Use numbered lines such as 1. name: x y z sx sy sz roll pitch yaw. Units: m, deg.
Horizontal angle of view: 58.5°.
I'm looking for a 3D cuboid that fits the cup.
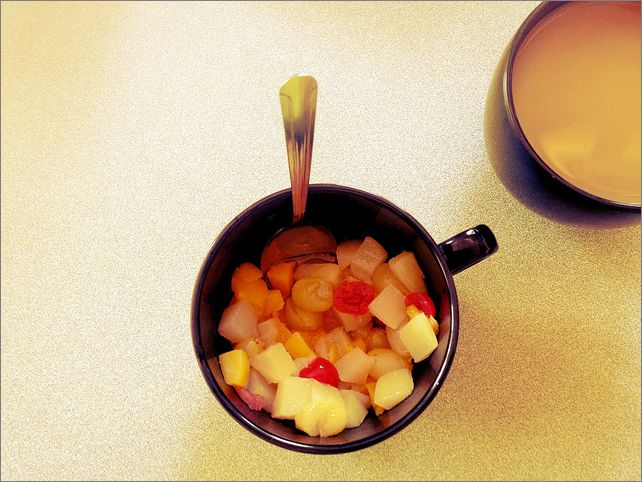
1. cup: 0.000 0.150 1.215 0.542 0.469 0.396 -17 30 -16
